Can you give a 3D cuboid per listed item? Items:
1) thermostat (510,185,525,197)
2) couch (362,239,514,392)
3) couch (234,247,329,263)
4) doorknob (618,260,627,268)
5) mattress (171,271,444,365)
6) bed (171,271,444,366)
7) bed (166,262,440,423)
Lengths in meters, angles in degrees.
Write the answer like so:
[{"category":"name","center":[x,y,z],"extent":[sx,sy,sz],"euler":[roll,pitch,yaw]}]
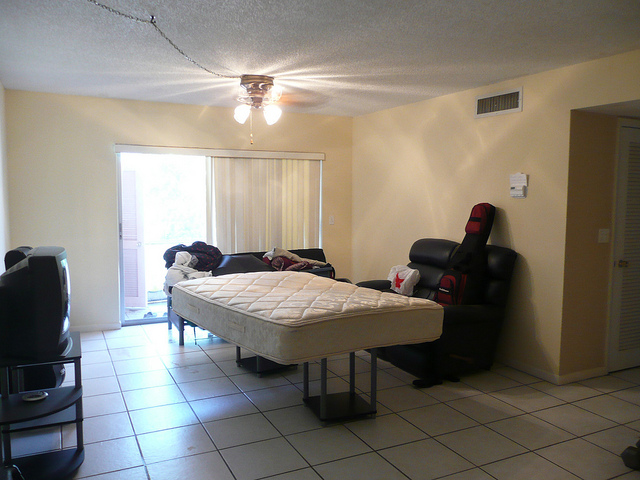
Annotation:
[{"category":"thermostat","center":[2.042,-0.551,4.953],"extent":[0.075,0.128,0.138],"euler":[7,-6,-33]},{"category":"couch","center":[1.179,0.679,5.404],"extent":[1.050,1.322,1.732],"euler":[-2,5,-24]},{"category":"couch","center":[-0.436,0.172,6.611],"extent":[0.989,0.163,0.491],"euler":[-4,13,-17]},{"category":"doorknob","center":[3.067,0.226,4.886],"extent":[0.081,0.028,0.056],"euler":[2,-33,-11]},{"category":"mattress","center":[-0.249,0.579,4.217],"extent":[1.497,0.373,1.947],"euler":[-3,6,-39]},{"category":"bed","center":[-0.246,0.569,4.239],"extent":[1.558,0.340,2.045],"euler":[-3,6,-42]},{"category":"bed","center":[-0.177,0.946,4.208],"extent":[1.900,1.242,1.700],"euler":[-5,14,-23]}]
